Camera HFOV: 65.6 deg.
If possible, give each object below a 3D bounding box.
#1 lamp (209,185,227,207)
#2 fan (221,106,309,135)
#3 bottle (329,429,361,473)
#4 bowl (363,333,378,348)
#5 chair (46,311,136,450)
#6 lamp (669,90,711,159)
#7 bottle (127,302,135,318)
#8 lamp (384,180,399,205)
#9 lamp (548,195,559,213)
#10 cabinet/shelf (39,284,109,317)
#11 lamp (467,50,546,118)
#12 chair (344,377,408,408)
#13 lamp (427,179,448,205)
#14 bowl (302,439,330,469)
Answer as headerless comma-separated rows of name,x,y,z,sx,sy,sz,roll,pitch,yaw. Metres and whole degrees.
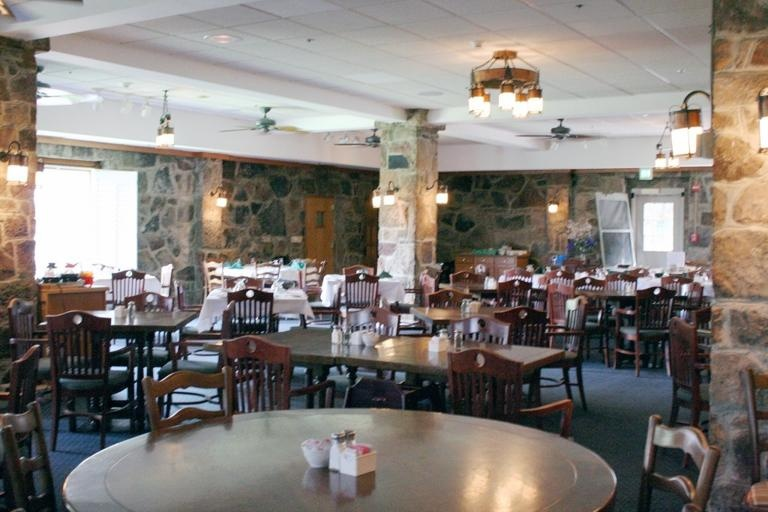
lamp,-3.589,-1.287,12.873,0.359,0.489,0.549,0,7,-14
fan,-2.334,-2.645,11.508,1.023,0.300,0.996,2,6,32
bottle,-0.181,0.888,2.694,0.069,0.152,0.181,-1,-5,23
bowl,-0.112,0.672,4.736,0.130,0.088,0.107,-1,-1,-14
chair,-2.591,1.080,5.272,0.747,1.058,0.724,0,-5,-10
lamp,2.299,-0.998,4.430,0.378,0.490,0.274,-4,4,12
bottle,-2.781,0.586,6.515,0.129,0.144,0.120,1,-3,-19
lamp,0.093,-1.146,10.905,0.258,0.442,0.235,6,9,30
lamp,4.025,-1.218,14.235,0.216,0.416,0.285,8,9,38
cabinet/shelf,-3.849,0.557,7.198,0.422,0.405,0.744,13,7,30
lamp,1.430,-2.075,7.029,0.953,0.621,0.909,3,16,12
chair,-0.058,0.792,3.786,0.424,0.245,0.192,1,4,10
lamp,1.051,-1.200,11.179,0.375,0.389,0.899,4,6,18
bowl,-0.325,0.897,2.747,0.131,0.077,0.128,1,-2,0
